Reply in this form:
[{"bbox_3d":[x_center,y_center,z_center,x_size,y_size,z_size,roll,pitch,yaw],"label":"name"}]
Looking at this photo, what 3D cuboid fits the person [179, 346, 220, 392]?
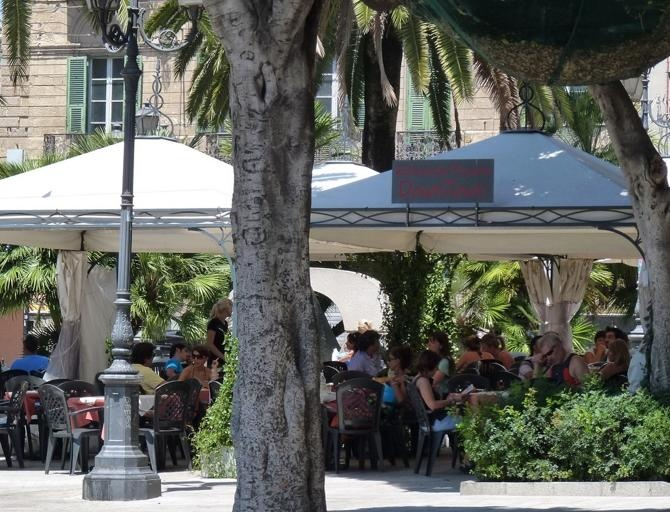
[{"bbox_3d":[-1.976,1.665,28.509,0.545,1.084,0.384,-1,-14,-3],"label":"person"}]
